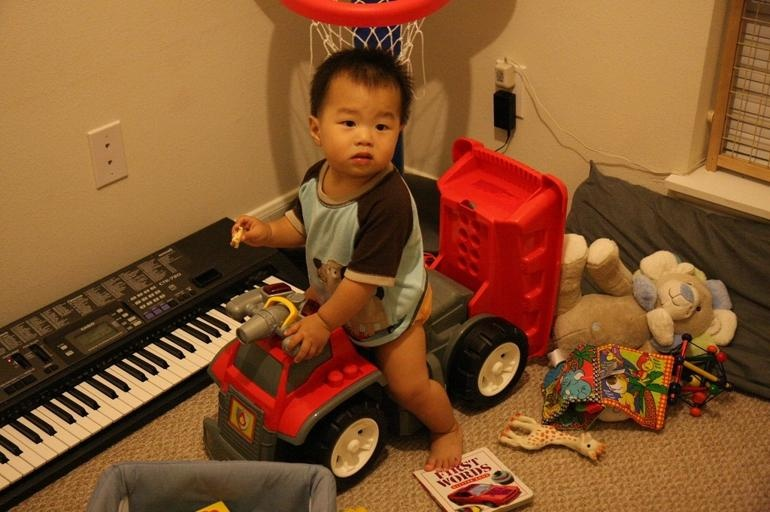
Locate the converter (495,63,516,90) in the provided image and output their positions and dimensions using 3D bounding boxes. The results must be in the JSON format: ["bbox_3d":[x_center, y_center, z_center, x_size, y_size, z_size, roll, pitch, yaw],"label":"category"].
[{"bbox_3d":[0.469,-0.700,2.357,0.080,0.099,0.043,17,42,27],"label":"converter"}]

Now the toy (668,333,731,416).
[{"bbox_3d":[0.970,0.380,1.917,0.207,0.256,0.075,-38,31,-29],"label":"toy"}]

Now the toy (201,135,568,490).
[{"bbox_3d":[0.014,0.162,1.885,1.006,0.701,0.555,-23,36,-22],"label":"toy"}]

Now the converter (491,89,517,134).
[{"bbox_3d":[0.476,-0.584,2.401,0.097,0.180,0.056,28,46,36],"label":"converter"}]

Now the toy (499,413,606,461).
[{"bbox_3d":[0.503,0.554,1.817,0.300,0.057,0.127,8,58,25],"label":"toy"}]

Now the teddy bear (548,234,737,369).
[{"bbox_3d":[0.831,0.209,1.974,0.605,0.256,0.567,3,61,8],"label":"teddy bear"}]

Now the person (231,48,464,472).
[{"bbox_3d":[-0.087,0.045,1.690,0.548,1.169,0.466,19,29,34],"label":"person"}]
